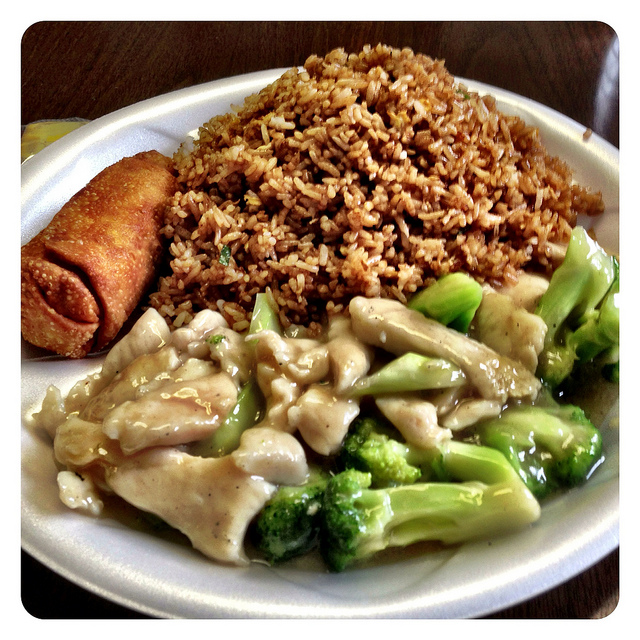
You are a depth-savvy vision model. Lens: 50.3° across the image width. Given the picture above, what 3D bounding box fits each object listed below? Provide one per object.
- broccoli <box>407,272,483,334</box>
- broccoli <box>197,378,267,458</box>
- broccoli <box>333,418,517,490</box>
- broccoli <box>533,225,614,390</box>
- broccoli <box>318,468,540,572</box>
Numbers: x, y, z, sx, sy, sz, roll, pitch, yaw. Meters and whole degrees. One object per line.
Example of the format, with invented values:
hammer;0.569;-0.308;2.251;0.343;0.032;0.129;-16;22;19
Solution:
broccoli;0.425;-0.063;2.185;0.263;0.133;0.183;-19;55;-18
broccoli;-0.268;0.306;2.065;0.052;0.194;0.188;23;19;17
broccoli;0.348;0.398;2.022;0.485;0.228;0.290;10;17;5
broccoli;0.803;-0.047;2.194;0.179;0.308;0.464;27;55;18
broccoli;0.300;0.539;1.947;0.618;0.207;0.204;-7;52;-9
